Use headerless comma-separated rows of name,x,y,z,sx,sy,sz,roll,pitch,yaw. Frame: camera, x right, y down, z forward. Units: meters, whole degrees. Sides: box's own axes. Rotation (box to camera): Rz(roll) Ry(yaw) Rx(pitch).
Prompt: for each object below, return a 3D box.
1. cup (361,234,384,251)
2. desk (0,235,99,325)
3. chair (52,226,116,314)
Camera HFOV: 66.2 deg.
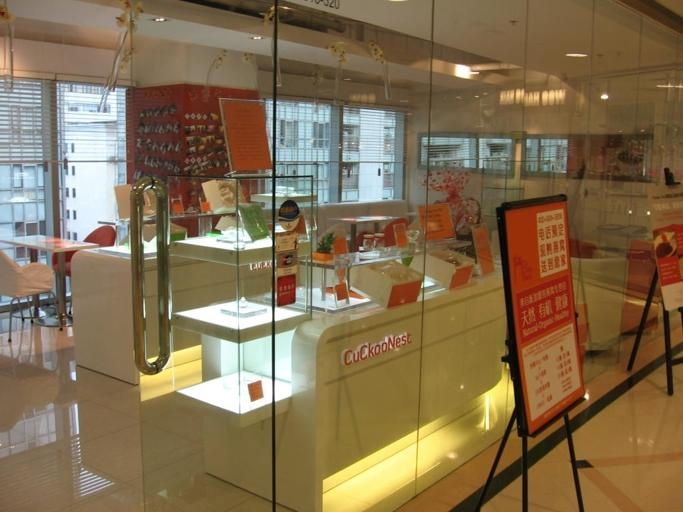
cup,0.170,-0.073,2.839,0.117,0.109,0.070,-3,12,-23
desk,-3.303,0.279,5.904,0.912,0.645,0.441,12,15,42
chair,-3.121,0.031,6.430,0.584,0.845,0.702,7,6,29
